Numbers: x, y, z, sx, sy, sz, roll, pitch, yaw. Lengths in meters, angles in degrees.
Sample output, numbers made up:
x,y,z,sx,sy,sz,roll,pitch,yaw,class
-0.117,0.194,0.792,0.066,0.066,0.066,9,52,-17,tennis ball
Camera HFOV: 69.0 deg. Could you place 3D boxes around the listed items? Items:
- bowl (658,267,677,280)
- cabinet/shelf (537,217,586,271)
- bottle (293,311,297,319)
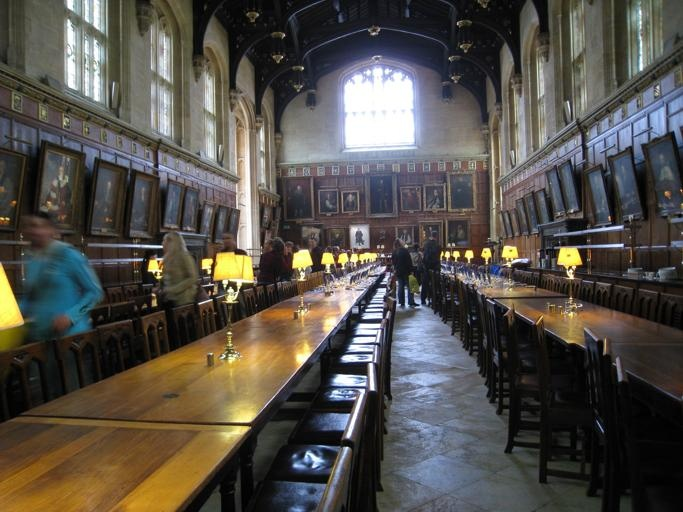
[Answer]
x,y,z,sx,sy,sz,roll,pitch,yaw,class
4.555,0.245,6.859,0.165,0.134,0.172,-1,5,0,bowl
4.946,-0.274,10.979,0.418,1.223,1.351,2,-3,2,cabinet/shelf
-0.449,0.592,4.917,0.046,0.053,0.048,0,-1,10,bottle
